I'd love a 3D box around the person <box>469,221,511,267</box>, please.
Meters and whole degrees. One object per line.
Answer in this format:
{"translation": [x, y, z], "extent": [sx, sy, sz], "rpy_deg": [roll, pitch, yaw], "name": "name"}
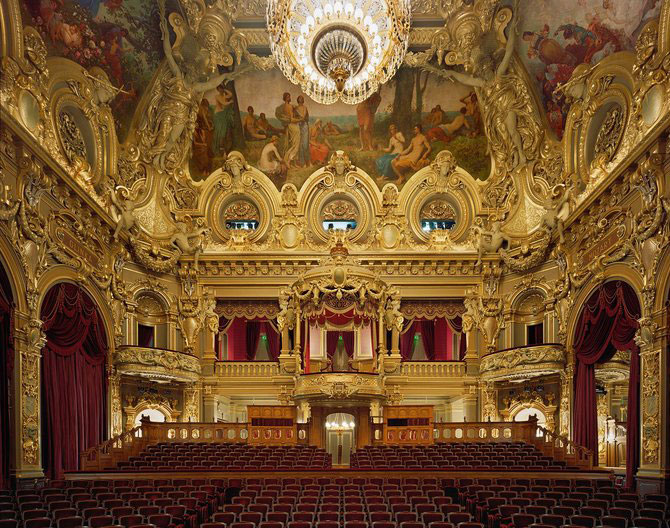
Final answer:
{"translation": [6.225, -0.957, 35.099], "extent": [1.338, 1.789, 0.677], "rpy_deg": [-3, -16, 9], "name": "person"}
